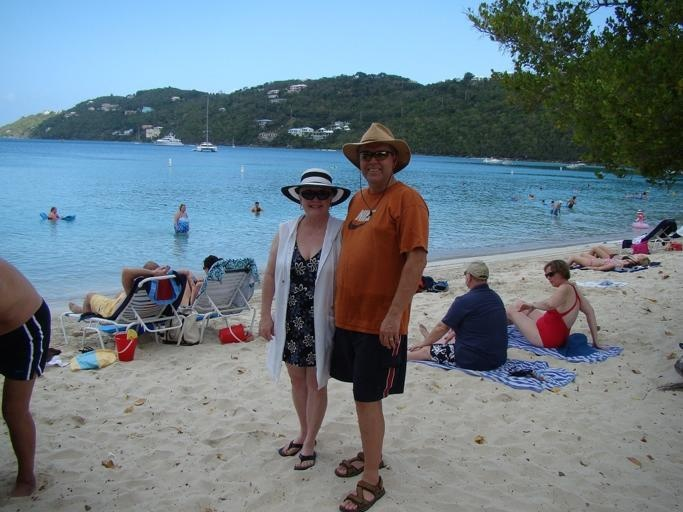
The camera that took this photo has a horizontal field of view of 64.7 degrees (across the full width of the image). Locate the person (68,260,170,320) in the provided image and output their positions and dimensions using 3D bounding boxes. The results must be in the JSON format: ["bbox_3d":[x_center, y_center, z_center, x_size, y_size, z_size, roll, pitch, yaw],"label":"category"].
[{"bbox_3d":[-3.205,0.481,7.822,1.898,0.674,0.748,-6,-3,37],"label":"person"}]

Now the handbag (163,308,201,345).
[{"bbox_3d":[-2.230,0.996,7.583,0.499,0.447,0.516,-4,-14,25],"label":"handbag"}]

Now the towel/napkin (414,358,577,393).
[{"bbox_3d":[1.989,1.384,6.273,1.480,0.124,0.855,-2,6,-9],"label":"towel/napkin"}]

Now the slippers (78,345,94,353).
[{"bbox_3d":[-3.372,1.232,7.141,0.130,0.050,0.152,-1,-2,-2],"label":"slippers"}]

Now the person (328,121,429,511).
[{"bbox_3d":[0.284,0.445,4.257,0.789,2.977,0.664,-3,8,-3],"label":"person"}]

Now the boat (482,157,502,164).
[{"bbox_3d":[34.039,-21.024,118.711,5.021,1.551,1.438,4,14,8],"label":"boat"}]

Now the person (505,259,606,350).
[{"bbox_3d":[2.655,0.628,7.197,1.876,1.054,0.733,5,1,14],"label":"person"}]

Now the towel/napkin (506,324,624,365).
[{"bbox_3d":[2.820,1.154,6.946,1.014,0.126,0.514,2,11,30],"label":"towel/napkin"}]

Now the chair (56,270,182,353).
[{"bbox_3d":[-3.107,0.711,7.471,1.626,0.843,1.075,2,3,26],"label":"chair"}]

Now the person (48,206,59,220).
[{"bbox_3d":[-10.977,-1.609,20.502,0.410,0.543,1.277,-6,7,-27],"label":"person"}]

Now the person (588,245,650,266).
[{"bbox_3d":[6.306,0.033,12.404,0.850,0.391,1.208,-4,8,-41],"label":"person"}]

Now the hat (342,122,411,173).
[{"bbox_3d":[0.352,-0.979,4.529,0.503,0.199,0.515,-2,-24,12],"label":"hat"}]

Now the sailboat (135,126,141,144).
[{"bbox_3d":[-67.165,-39.954,177.724,1.808,5.034,4.470,-5,8,-21],"label":"sailboat"}]

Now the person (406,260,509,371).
[{"bbox_3d":[1.474,0.741,7.007,1.108,1.191,1.653,-1,-1,-30],"label":"person"}]

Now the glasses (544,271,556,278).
[{"bbox_3d":[2.655,0.238,6.894,0.071,0.087,0.181,-3,6,-6],"label":"glasses"}]

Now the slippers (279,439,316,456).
[{"bbox_3d":[-0.440,1.709,4.791,0.102,0.057,0.245,1,0,38],"label":"slippers"}]

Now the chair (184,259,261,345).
[{"bbox_3d":[-1.939,0.593,8.183,0.952,0.807,1.541,4,-10,-39],"label":"chair"}]

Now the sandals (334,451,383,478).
[{"bbox_3d":[0.160,1.769,4.618,0.425,0.143,0.196,4,-5,-43],"label":"sandals"}]

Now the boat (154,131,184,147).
[{"bbox_3d":[-52.954,-35.968,165.534,6.245,4.779,8.168,-7,8,-39],"label":"boat"}]

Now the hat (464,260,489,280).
[{"bbox_3d":[1.569,0.167,6.173,0.260,0.225,0.273,-6,7,-29],"label":"hat"}]

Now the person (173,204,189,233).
[{"bbox_3d":[-5.804,-1.346,19.436,0.473,1.062,1.591,-5,7,-17],"label":"person"}]

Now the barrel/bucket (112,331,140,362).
[{"bbox_3d":[-2.751,1.145,6.881,0.378,0.373,0.386,2,-11,0],"label":"barrel/bucket"}]

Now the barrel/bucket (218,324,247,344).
[{"bbox_3d":[-1.533,1.112,7.744,0.445,0.223,0.309,-4,7,-23],"label":"barrel/bucket"}]
